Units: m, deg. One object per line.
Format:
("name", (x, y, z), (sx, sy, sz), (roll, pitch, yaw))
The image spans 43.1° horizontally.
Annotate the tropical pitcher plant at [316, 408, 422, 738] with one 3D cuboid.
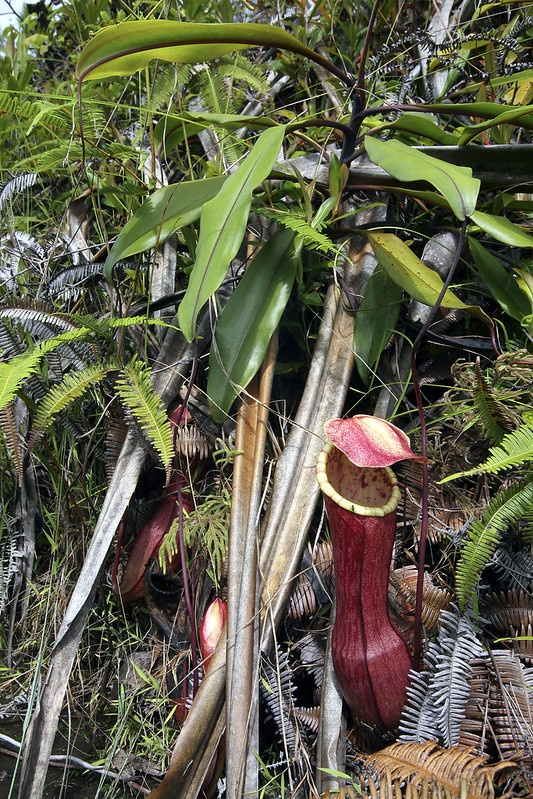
("tropical pitcher plant", (0.163, 0.260, 1.078), (0.144, 0.433, 0.313), (-4, 34, 4))
